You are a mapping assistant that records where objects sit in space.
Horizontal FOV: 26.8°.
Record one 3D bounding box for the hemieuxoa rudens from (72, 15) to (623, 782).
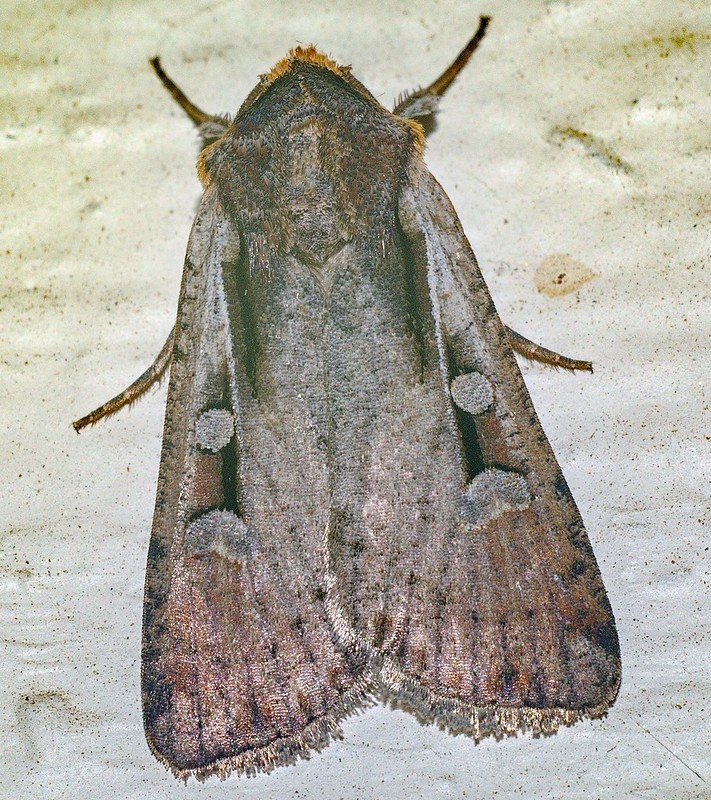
[{"bbox_3d":[-0.182,-0.510,9.116,3.694,1.282,5.380,-1,84,32],"label":"hemieuxoa rudens"}]
